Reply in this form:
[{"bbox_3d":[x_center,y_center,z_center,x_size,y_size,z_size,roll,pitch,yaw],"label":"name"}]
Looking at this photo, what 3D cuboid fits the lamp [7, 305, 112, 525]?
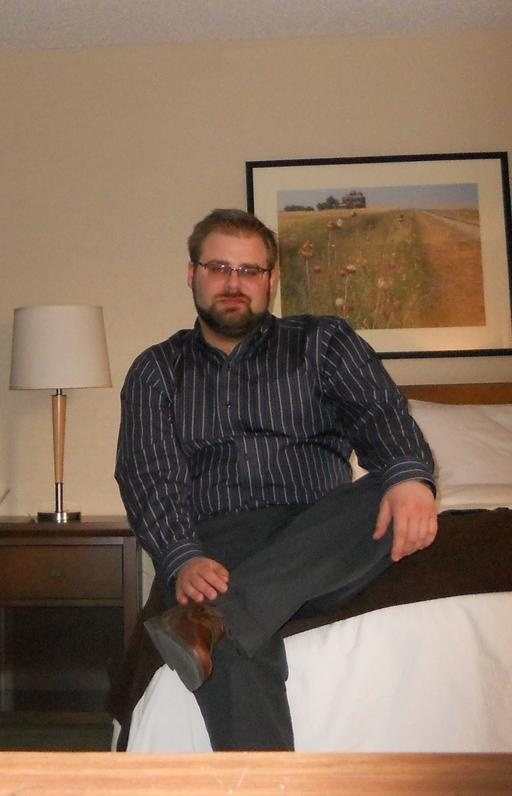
[{"bbox_3d":[-0.631,0.049,2.210,0.279,0.686,0.244,3,1,27],"label":"lamp"}]
